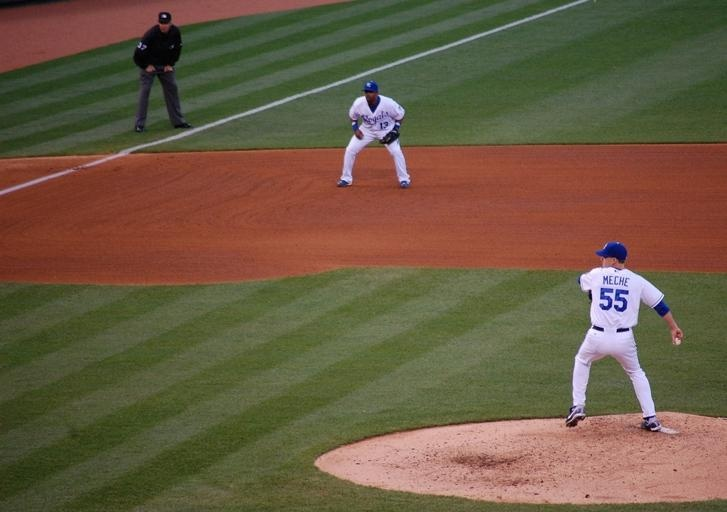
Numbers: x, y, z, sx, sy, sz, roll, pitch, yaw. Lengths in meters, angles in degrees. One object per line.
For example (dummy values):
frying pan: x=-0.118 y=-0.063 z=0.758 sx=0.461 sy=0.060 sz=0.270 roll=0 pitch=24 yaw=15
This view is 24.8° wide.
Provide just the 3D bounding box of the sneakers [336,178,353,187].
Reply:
sneakers: x=-0.345 y=-1.350 z=31.398 sx=0.294 sy=0.105 sz=0.114 roll=0 pitch=-34 yaw=-4

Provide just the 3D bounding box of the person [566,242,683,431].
person: x=4.035 y=1.345 z=26.266 sx=1.659 sy=3.001 sz=0.883 roll=-2 pitch=8 yaw=8

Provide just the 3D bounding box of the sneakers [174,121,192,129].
sneakers: x=-3.688 y=-2.684 z=34.163 sx=0.422 sy=0.150 sz=0.132 roll=-3 pitch=32 yaw=0

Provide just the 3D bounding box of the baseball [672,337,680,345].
baseball: x=4.994 y=1.417 z=26.334 sx=0.141 sy=0.078 sz=0.169 roll=0 pitch=-12 yaw=4

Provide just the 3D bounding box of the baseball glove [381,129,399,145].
baseball glove: x=0.542 y=-2.227 z=31.124 sx=0.242 sy=0.117 sz=0.359 roll=6 pitch=25 yaw=33

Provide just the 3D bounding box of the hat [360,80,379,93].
hat: x=0.149 y=-3.153 z=31.027 sx=0.234 sy=0.201 sz=0.490 roll=-3 pitch=7 yaw=-3

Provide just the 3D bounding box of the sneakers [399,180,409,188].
sneakers: x=0.788 y=-1.332 z=31.235 sx=0.140 sy=0.130 sz=0.320 roll=-1 pitch=-5 yaw=3

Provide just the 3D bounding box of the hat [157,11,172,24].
hat: x=-3.958 y=-4.749 z=33.124 sx=0.215 sy=0.261 sz=0.644 roll=-3 pitch=7 yaw=-4

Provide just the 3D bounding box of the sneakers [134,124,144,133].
sneakers: x=-4.587 y=-2.601 z=34.020 sx=0.236 sy=0.199 sz=0.525 roll=-1 pitch=0 yaw=-13

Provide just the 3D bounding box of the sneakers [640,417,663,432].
sneakers: x=4.550 y=2.732 z=26.176 sx=0.182 sy=0.140 sz=0.320 roll=-1 pitch=-1 yaw=-16

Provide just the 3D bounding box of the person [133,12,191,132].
person: x=-4.100 y=-3.694 z=33.559 sx=1.122 sy=2.437 sz=1.254 roll=-4 pitch=8 yaw=-7

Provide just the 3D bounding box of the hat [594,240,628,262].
hat: x=3.960 y=-0.040 z=26.454 sx=0.496 sy=0.247 sz=0.331 roll=20 pitch=19 yaw=17

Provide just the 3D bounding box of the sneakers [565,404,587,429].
sneakers: x=3.366 y=2.621 z=26.230 sx=0.319 sy=0.369 sz=0.285 roll=-2 pitch=7 yaw=5

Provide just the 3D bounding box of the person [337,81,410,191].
person: x=0.202 y=-2.245 z=31.186 sx=1.261 sy=2.022 sz=0.553 roll=-3 pitch=8 yaw=1
